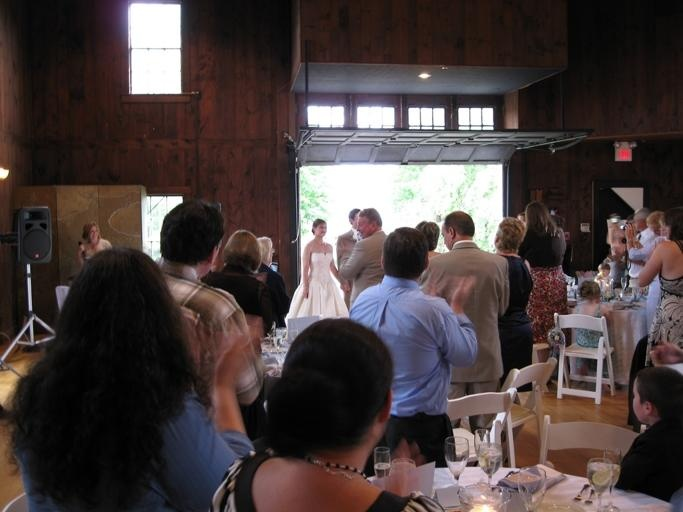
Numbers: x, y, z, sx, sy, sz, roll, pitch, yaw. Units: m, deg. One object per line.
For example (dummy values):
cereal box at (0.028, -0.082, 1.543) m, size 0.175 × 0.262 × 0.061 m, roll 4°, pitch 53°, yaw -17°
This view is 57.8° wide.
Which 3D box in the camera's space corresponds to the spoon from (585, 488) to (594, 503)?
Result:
spoon at (1.145, 1.097, 2.841) m, size 0.041 × 0.054 × 0.044 m, roll 9°, pitch -7°, yaw 25°
